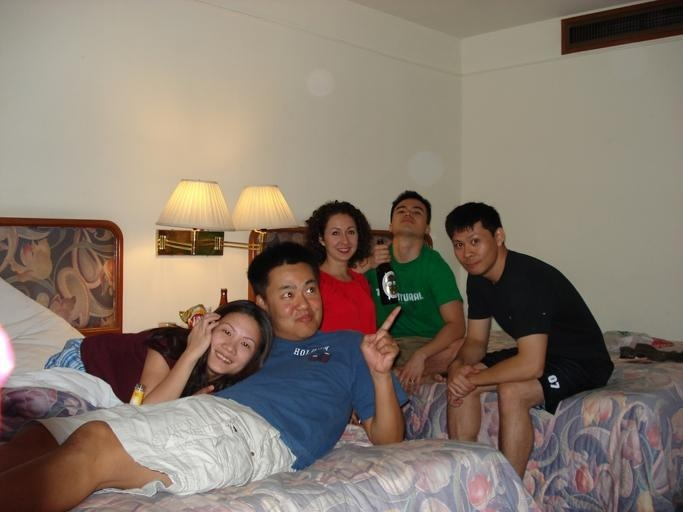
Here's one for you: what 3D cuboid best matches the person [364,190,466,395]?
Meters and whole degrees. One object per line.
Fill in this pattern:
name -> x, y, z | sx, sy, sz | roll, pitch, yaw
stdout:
person -> 0.357, 0.168, 2.935 | 0.764, 1.086, 0.661 | 0, 10, 26

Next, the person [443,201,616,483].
person -> 0.794, 0.458, 2.371 | 0.810, 1.415, 0.538 | -5, -1, -12
